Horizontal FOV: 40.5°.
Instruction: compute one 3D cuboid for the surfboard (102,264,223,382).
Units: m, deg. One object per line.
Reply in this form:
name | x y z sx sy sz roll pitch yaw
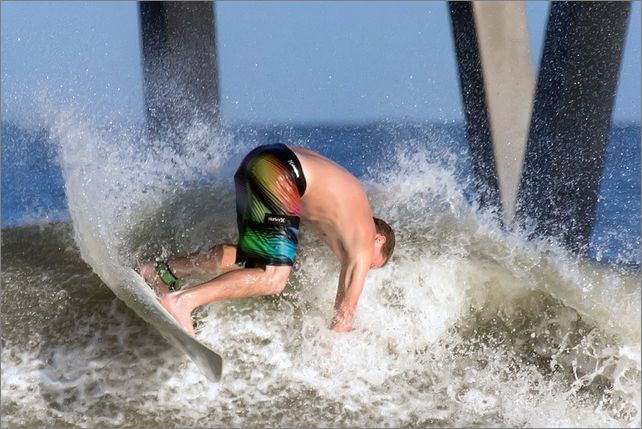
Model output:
surfboard | -1.080 0.833 6.067 0.173 1.331 0.323 -21 47 19
